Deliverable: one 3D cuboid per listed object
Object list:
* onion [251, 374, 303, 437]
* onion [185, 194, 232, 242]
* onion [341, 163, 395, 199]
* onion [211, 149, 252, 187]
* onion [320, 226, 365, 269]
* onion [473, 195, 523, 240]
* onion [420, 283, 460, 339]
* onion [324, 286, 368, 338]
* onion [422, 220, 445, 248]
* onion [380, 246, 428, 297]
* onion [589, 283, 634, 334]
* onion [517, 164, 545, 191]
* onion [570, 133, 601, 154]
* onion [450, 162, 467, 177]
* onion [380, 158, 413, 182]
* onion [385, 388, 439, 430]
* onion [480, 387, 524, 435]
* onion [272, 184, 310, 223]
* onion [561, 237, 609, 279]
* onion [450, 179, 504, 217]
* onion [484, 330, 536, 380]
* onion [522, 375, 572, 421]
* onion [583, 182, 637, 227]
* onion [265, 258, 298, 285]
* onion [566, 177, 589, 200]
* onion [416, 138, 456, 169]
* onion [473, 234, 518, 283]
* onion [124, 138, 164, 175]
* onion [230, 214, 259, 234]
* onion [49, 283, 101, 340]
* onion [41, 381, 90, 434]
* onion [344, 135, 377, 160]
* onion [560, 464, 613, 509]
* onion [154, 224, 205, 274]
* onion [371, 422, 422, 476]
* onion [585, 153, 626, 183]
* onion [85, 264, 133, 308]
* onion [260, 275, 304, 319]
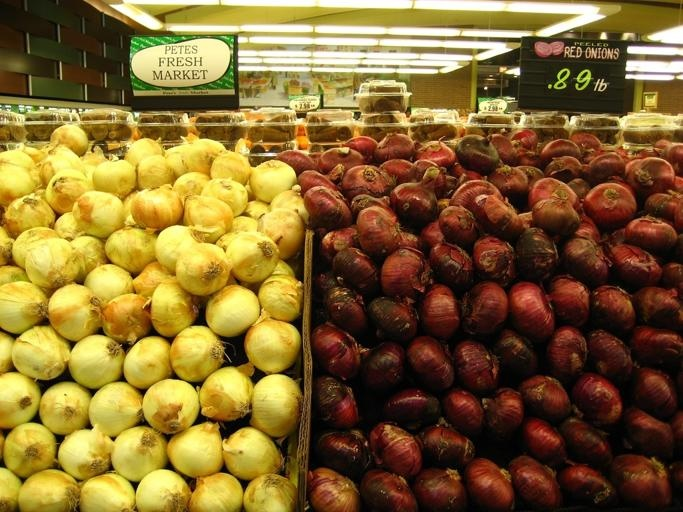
[{"bbox_3d":[-0.238,0.557,2.043,0.222,0.239,0.209,11,0,-10],"label":"onion"},{"bbox_3d":[-0.555,-0.153,2.155,0.127,0.157,0.129,-46,5,-35],"label":"onion"},{"bbox_3d":[0.123,-0.334,2.327,0.183,0.125,0.175,-24,51,-34],"label":"onion"},{"bbox_3d":[-0.511,-0.410,2.459,0.166,0.168,0.152,-25,7,-33],"label":"onion"},{"bbox_3d":[-0.019,-0.033,2.187,0.175,0.139,0.157,-54,19,-16],"label":"onion"},{"bbox_3d":[0.587,-0.139,2.107,0.178,0.101,0.182,32,14,-43],"label":"onion"},{"bbox_3d":[0.375,0.215,2.027,0.109,0.183,0.149,-7,-20,14],"label":"onion"},{"bbox_3d":[0.021,0.212,2.061,0.182,0.111,0.144,50,13,26],"label":"onion"},{"bbox_3d":[0.377,-0.091,2.157,0.098,0.104,0.073,-5,-30,45],"label":"onion"},{"bbox_3d":[0.244,0.076,2.086,0.188,0.178,0.171,6,63,5],"label":"onion"},{"bbox_3d":[1.079,0.217,2.082,0.173,0.183,0.082,4,20,7],"label":"onion"},{"bbox_3d":[0.910,-0.392,2.488,0.133,0.126,0.127,12,23,9],"label":"onion"},{"bbox_3d":[1.374,-0.645,2.926,0.155,0.111,0.197,12,19,20],"label":"onion"},{"bbox_3d":[0.554,-0.412,2.479,0.064,0.044,0.077,-7,47,38],"label":"onion"},{"bbox_3d":[0.252,-0.399,2.452,0.131,0.067,0.115,-6,38,-15],"label":"onion"},{"bbox_3d":[0.263,0.569,1.940,0.184,0.129,0.097,-2,19,3],"label":"onion"},{"bbox_3d":[0.603,0.595,1.970,0.147,0.163,0.101,6,20,13],"label":"onion"},{"bbox_3d":[-0.215,-0.245,2.376,0.171,0.155,0.161,-7,7,-10],"label":"onion"},{"bbox_3d":[0.993,0.018,2.119,0.180,0.163,0.099,8,20,18],"label":"onion"},{"bbox_3d":[0.561,-0.266,2.170,0.172,0.176,0.088,51,7,15],"label":"onion"},{"bbox_3d":[0.669,0.398,2.070,0.172,0.173,0.164,21,66,22],"label":"onion"},{"bbox_3d":[0.780,0.542,2.039,0.171,0.107,0.176,32,20,0],"label":"onion"},{"bbox_3d":[1.174,-0.217,2.353,0.203,0.193,0.202,17,-8,19],"label":"onion"},{"bbox_3d":[-0.256,0.066,2.192,0.098,0.053,0.091,0,55,-1],"label":"onion"},{"bbox_3d":[1.092,-0.326,2.410,0.090,0.060,0.110,16,35,23],"label":"onion"},{"bbox_3d":[0.467,-0.517,2.553,0.191,0.180,0.175,-1,37,15],"label":"onion"},{"bbox_3d":[0.592,0.016,2.091,0.157,0.157,0.177,-33,7,32],"label":"onion"},{"bbox_3d":[-0.983,-0.515,2.641,0.206,0.118,0.152,-14,32,-27],"label":"onion"},{"bbox_3d":[-0.421,-0.144,2.269,0.083,0.050,0.093,1,10,8],"label":"onion"},{"bbox_3d":[-1.033,0.229,2.026,0.183,0.218,0.118,-8,21,-25],"label":"onion"},{"bbox_3d":[-1.039,0.576,1.967,0.180,0.171,0.100,3,19,6],"label":"onion"},{"bbox_3d":[0.120,-0.574,2.703,0.166,0.134,0.144,16,34,37],"label":"onion"},{"bbox_3d":[0.892,0.842,1.955,0.189,0.111,0.109,25,1,10],"label":"onion"},{"bbox_3d":[-0.639,-0.048,2.150,0.189,0.168,0.209,8,23,6],"label":"onion"},{"bbox_3d":[0.192,0.711,1.888,0.186,0.155,0.100,9,21,21],"label":"onion"},{"bbox_3d":[1.247,-0.414,2.442,0.169,0.138,0.100,-6,20,-20],"label":"onion"},{"bbox_3d":[-0.907,0.116,2.129,0.200,0.159,0.158,3,36,-2],"label":"onion"},{"bbox_3d":[-0.253,0.176,2.164,0.178,0.159,0.134,33,-9,-14],"label":"onion"}]
